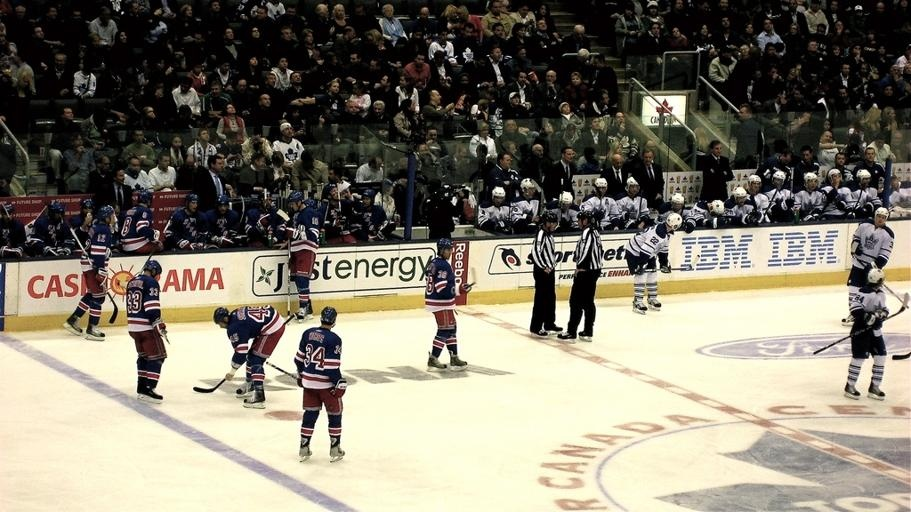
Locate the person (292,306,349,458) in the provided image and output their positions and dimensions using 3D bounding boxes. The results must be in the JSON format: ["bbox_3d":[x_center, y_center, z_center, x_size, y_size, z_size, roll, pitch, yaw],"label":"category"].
[{"bbox_3d":[-2.720,2.610,21.367,0.974,3.109,0.811,-1,3,-8],"label":"person"}]

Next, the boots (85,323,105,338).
[{"bbox_3d":[-8.873,1.853,25.982,0.565,0.329,0.250,6,19,-17],"label":"boots"}]

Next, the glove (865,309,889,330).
[{"bbox_3d":[9.517,1.450,23.810,0.586,0.425,0.285,-2,3,-25],"label":"glove"}]

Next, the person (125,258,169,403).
[{"bbox_3d":[-6.805,1.663,23.218,0.773,3.084,0.751,-2,3,-17],"label":"person"}]

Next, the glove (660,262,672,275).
[{"bbox_3d":[5.899,0.336,29.544,0.370,0.162,0.484,3,6,7],"label":"glove"}]

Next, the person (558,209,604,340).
[{"bbox_3d":[3.285,0.502,27.167,0.925,3.299,0.752,-1,3,7],"label":"person"}]

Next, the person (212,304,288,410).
[{"bbox_3d":[-4.491,2.231,23.215,1.362,2.230,0.758,-1,3,-10],"label":"person"}]

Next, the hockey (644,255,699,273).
[{"bbox_3d":[6.047,0.234,29.795,1.748,0.224,0.407,-3,-37,1],"label":"hockey"}]

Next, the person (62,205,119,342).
[{"bbox_3d":[-8.820,0.435,25.891,1.025,3.268,0.892,1,3,35],"label":"person"}]

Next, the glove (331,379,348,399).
[{"bbox_3d":[-2.367,2.678,21.199,0.297,0.170,0.382,-1,-34,-32],"label":"glove"}]

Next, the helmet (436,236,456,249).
[{"bbox_3d":[-0.206,-0.244,25.113,0.408,0.330,0.296,-9,23,-12],"label":"helmet"}]

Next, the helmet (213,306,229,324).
[{"bbox_3d":[-5.069,1.319,22.889,0.325,0.350,0.401,-1,2,-15],"label":"helmet"}]

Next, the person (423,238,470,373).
[{"bbox_3d":[-0.244,1.161,25.119,0.764,3.094,0.813,0,3,24],"label":"person"}]

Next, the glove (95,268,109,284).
[{"bbox_3d":[-8.553,0.482,25.659,0.270,0.295,0.311,12,-44,-17],"label":"glove"}]

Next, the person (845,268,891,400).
[{"bbox_3d":[9.473,1.830,24.261,0.859,3.035,1.208,0,3,21],"label":"person"}]

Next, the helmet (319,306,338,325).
[{"bbox_3d":[-2.561,1.222,21.417,0.358,0.367,0.389,6,-1,-1],"label":"helmet"}]

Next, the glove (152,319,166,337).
[{"bbox_3d":[-6.477,1.567,23.125,0.296,0.358,0.179,-29,20,-23],"label":"glove"}]
